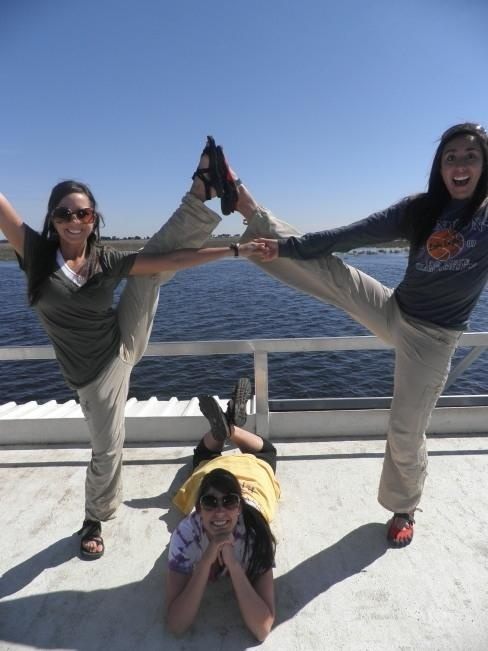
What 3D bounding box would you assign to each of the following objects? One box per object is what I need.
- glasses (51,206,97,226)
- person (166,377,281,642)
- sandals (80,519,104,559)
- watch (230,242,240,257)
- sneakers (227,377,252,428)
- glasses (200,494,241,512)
[{"bbox_3d":[-0.832,-0.542,2.391,0.174,0.078,0.063,-10,16,-34],"label":"glasses"},{"bbox_3d":[-0.082,0.860,2.551,0.485,0.444,1.164,1,32,1],"label":"person"},{"bbox_3d":[-0.809,1.153,2.611,0.091,0.086,0.214,3,-5,-20],"label":"sandals"},{"bbox_3d":[-0.038,-0.444,2.873,0.059,0.082,0.085,1,24,1],"label":"watch"},{"bbox_3d":[-0.028,0.517,3.266,0.142,0.352,0.145,16,-15,-36],"label":"sneakers"},{"bbox_3d":[-0.109,0.783,2.162,0.165,0.071,0.034,-3,14,-7],"label":"glasses"}]
